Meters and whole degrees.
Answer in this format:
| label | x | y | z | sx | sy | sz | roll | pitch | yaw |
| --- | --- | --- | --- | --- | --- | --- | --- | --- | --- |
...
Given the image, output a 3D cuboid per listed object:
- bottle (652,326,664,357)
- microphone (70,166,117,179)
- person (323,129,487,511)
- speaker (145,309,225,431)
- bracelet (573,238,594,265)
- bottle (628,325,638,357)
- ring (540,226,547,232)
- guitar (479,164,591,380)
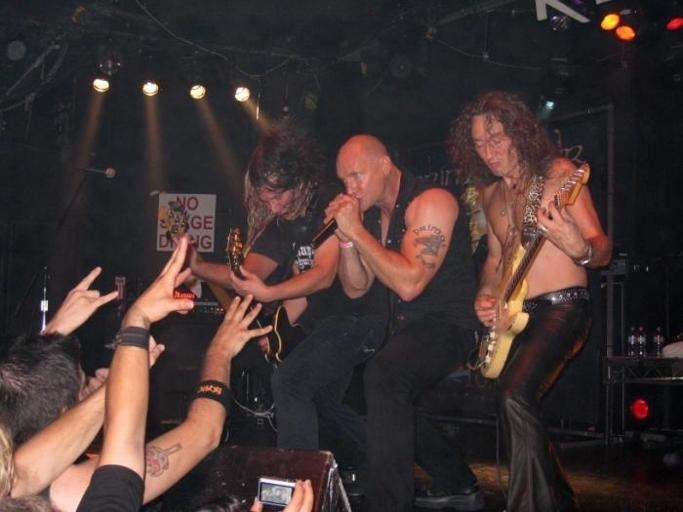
| label | x | y | z | sx | sy | sz | roll | pitch | yaw |
| --- | --- | --- | --- | --- | --- | --- | --- | --- | --- |
| bottle | 3.404 | 0.908 | 6.944 | 0.131 | 0.319 | 0.327 | -2 | -12 | 27 |
| microphone | -3.373 | -1.125 | 8.754 | 0.612 | 0.164 | 0.173 | 6 | 22 | 20 |
| person | 0.463 | 0.372 | 4.607 | 1.143 | 2.674 | 0.877 | 3 | -11 | 2 |
| speaker | -1.721 | 1.189 | 6.969 | 0.842 | 1.722 | 0.399 | 7 | -5 | -40 |
| bracelet | 1.652 | -0.021 | 4.399 | 0.056 | 0.155 | 0.116 | 20 | -46 | 4 |
| bottle | 3.088 | 0.897 | 6.857 | 0.094 | 0.313 | 0.194 | -1 | -12 | 24 |
| ring | 1.322 | -0.170 | 4.254 | 0.026 | 0.011 | 0.045 | 13 | -23 | 32 |
| guitar | 1.321 | 0.132 | 4.524 | 0.418 | 1.472 | 0.850 | 10 | -13 | -31 |
